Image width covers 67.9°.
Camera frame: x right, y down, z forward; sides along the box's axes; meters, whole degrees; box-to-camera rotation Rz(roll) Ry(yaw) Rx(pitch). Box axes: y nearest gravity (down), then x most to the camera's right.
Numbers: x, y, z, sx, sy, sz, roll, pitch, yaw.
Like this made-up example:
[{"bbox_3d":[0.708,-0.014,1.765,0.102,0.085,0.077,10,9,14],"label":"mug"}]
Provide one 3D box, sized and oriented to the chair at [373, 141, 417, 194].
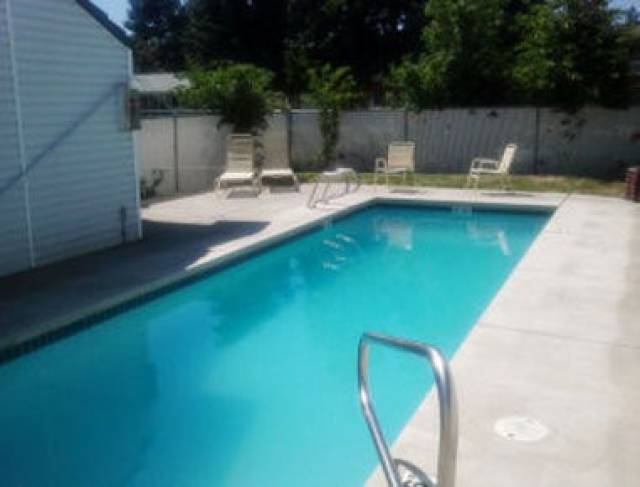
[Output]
[{"bbox_3d":[1.893,-2.016,12.317,0.845,1.120,2.576,6,17,8],"label":"chair"}]
